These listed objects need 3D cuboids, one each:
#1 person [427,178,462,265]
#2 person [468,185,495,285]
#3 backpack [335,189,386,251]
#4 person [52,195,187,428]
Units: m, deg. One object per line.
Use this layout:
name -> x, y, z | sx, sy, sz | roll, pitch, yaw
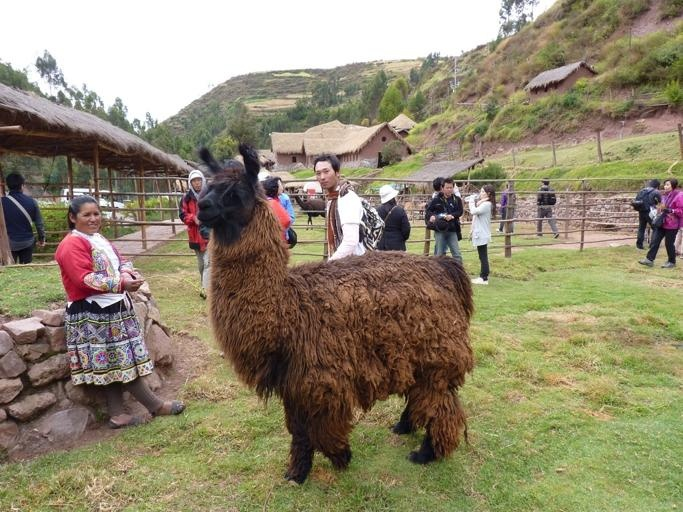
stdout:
person -> 1.820, -0.701, 9.569 | 0.737, 2.075, 0.793 | 5, 11, 18
person -> 2.709, -0.393, 9.833 | 0.594, 1.842, 0.752 | 0, 0, -37
backpack -> 0.168, -0.458, 5.422 | 0.400, 0.725, 0.452 | 6, 17, 3
person -> -2.413, 0.475, 5.590 | 1.256, 2.290, 1.176 | 11, 17, 26
